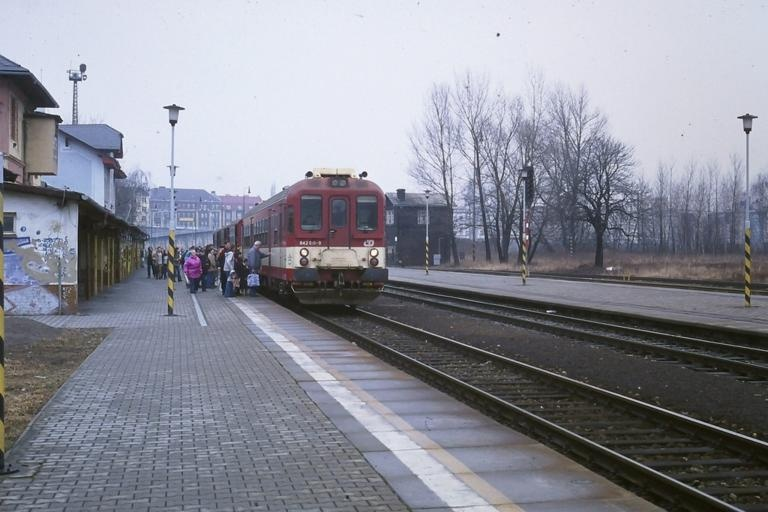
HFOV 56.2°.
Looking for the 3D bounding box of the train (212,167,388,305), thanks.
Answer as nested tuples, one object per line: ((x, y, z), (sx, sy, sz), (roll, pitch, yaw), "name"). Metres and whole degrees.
((-2.512, -0.464, 24.416), (2.878, 3.596, 7.318), (-1, 0, -19), "train")
